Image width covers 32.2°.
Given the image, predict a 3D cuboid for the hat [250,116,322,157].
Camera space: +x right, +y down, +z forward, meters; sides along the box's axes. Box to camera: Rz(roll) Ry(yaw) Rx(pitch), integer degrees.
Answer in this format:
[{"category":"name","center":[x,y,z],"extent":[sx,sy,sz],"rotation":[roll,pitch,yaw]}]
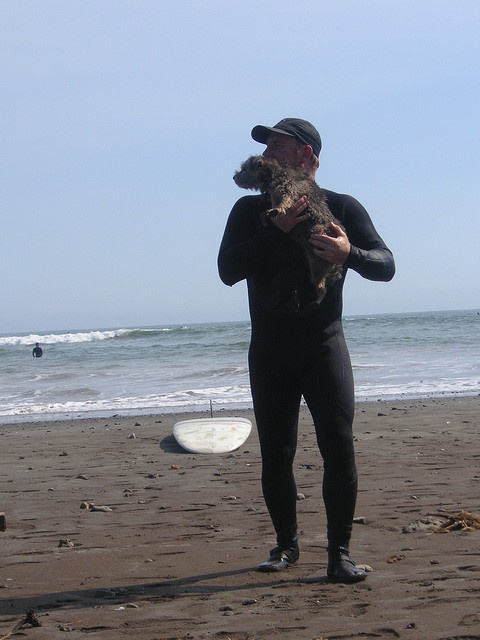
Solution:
[{"category":"hat","center":[0.208,-0.808,3.672],"extent":[0.297,0.125,0.161],"rotation":[-2,1,-1]}]

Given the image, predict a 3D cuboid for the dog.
[{"category":"dog","center":[0.227,-0.381,3.499],"extent":[0.453,0.461,0.389],"rotation":[-3,1,-5]}]

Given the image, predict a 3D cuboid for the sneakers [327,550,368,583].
[{"category":"sneakers","center":[0.460,1.080,3.661],"extent":[0.090,0.090,0.226],"rotation":[2,-12,-20]}]

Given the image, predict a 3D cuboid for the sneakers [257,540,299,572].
[{"category":"sneakers","center":[0.188,1.087,3.810],"extent":[0.085,0.087,0.231],"rotation":[-10,-13,34]}]
